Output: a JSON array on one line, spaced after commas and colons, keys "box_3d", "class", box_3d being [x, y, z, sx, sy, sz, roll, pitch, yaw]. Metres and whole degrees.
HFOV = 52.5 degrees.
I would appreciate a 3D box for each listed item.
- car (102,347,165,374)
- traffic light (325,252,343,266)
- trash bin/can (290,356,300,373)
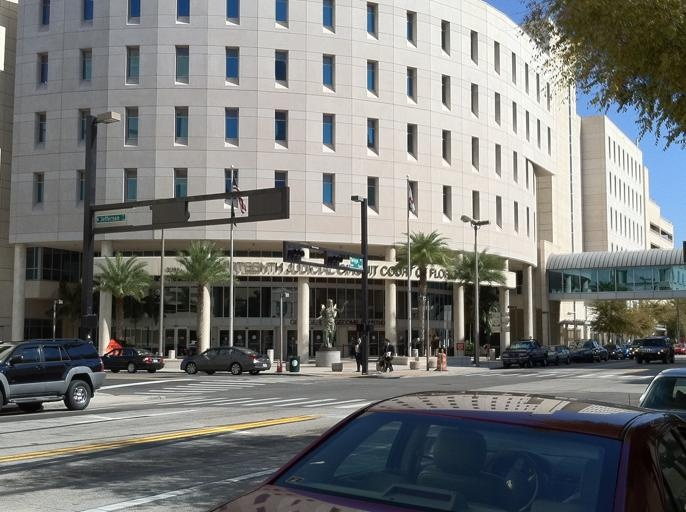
[{"box_3d": [-13.219, 6.607, 43.758, 3.358, 1.772, 1.076, -9, -6, 9], "class": "car"}, {"box_3d": [-0.590, 0.198, 37.756, 0.755, 0.417, 0.747, -10, -17, 42], "class": "traffic light"}, {"box_3d": [-2.969, 6.622, 42.474, 0.704, 1.100, 0.780, -3, -5, 11], "class": "trash bin/can"}]
